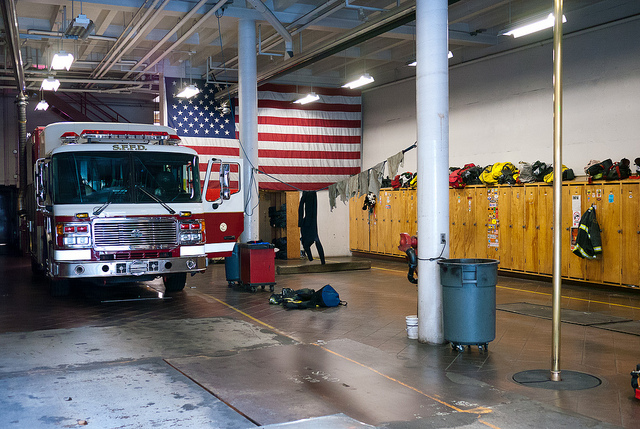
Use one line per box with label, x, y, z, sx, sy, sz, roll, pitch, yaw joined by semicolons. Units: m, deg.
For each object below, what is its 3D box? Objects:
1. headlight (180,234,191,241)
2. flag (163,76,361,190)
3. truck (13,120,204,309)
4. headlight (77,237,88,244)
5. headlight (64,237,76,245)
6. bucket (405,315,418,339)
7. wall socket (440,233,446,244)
headlight;-2.901;0.484;10.418;0.223;0.143;0.118;2;-9;-21
flag;-2.225;-2.989;17.235;5.743;2.964;0.065;-1;0;-24
truck;-5.745;-0.031;12.800;3.424;3.131;6.650;1;-3;-25
headlight;-4.782;0.508;9.719;0.182;0.094;0.039;-2;1;-30
headlight;-5.003;0.518;9.665;0.289;0.150;0.155;-4;-5;1
bucket;1.607;1.947;8.456;0.327;0.311;0.315;0;-6;0
wall socket;2.068;0.388;8.031;0.107;0.178;0.024;-2;1;-23
